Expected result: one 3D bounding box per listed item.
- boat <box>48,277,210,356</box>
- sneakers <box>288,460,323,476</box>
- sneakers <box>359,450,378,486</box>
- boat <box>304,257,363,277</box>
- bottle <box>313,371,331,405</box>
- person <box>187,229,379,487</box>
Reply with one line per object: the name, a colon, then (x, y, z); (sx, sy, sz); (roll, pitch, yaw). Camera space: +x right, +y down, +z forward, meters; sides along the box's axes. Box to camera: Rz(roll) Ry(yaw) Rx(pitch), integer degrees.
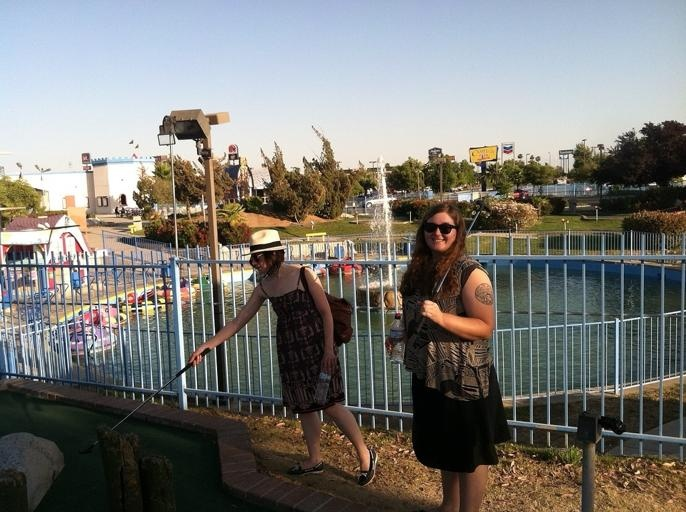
boat: (-3.910, 1.139, 12.640); (1.413, 0.391, 2.456); (3, 13, 20)
sneakers: (-0.350, 2.025, 6.632); (0.296, 0.122, 0.125); (3, -4, -7)
sneakers: (0.241, 1.998, 6.519); (0.119, 0.368, 0.126); (17, -17, -20)
boat: (-0.127, 0.167, 10.253); (0.664, 0.354, 0.993); (-2, 0, -5)
bottle: (-0.188, 1.177, 6.198); (0.148, 0.283, 0.063); (-8, -21, 36)
person: (-0.408, 0.947, 6.430); (1.343, 2.399, 0.490); (-1, 4, 6)
